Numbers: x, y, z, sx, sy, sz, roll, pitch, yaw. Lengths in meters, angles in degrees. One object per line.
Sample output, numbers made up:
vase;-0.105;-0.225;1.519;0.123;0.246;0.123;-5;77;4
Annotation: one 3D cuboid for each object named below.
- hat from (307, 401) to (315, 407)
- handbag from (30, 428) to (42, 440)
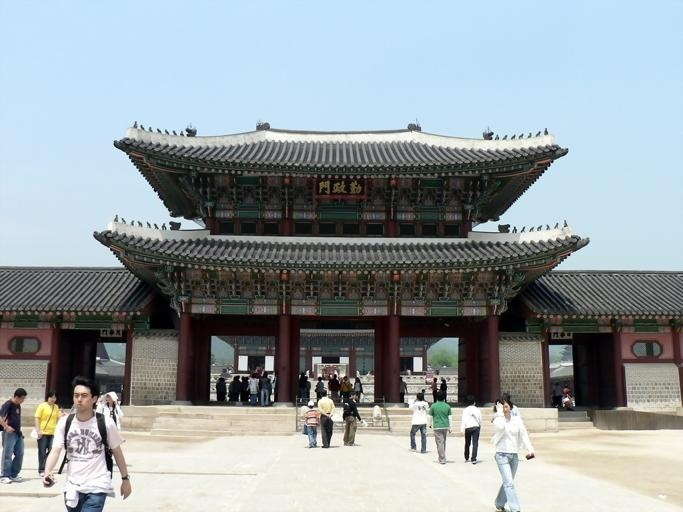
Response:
hat;-1.109;5.431;29.789;0.203;0.216;0.233;1;0;8
handbag;-8.858;5.138;23.517;0.245;0.274;0.711;4;-15;-17
